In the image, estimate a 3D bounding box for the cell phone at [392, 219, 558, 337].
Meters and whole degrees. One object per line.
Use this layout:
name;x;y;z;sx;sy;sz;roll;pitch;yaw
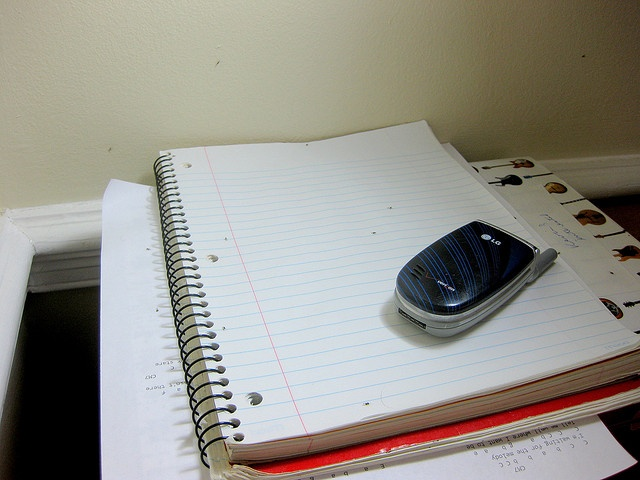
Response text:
cell phone;0.205;0.046;0.664;0.220;0.110;0.040;-22;-50;-29
